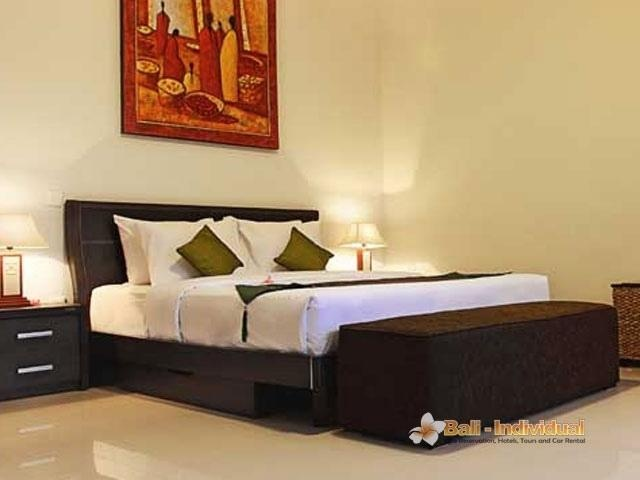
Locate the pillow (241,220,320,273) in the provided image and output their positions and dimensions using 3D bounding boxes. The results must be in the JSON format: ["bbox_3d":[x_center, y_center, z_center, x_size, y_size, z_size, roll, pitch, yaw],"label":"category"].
[{"bbox_3d":[-0.352,0.001,4.509,0.179,0.488,0.693,-22,-16,40],"label":"pillow"}]

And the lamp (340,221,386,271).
[{"bbox_3d":[0.518,0.093,5.730,0.558,0.545,0.525,-4,-8,26],"label":"lamp"}]

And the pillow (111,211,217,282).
[{"bbox_3d":[-1.521,0.069,4.131,0.163,0.551,0.551,-6,-1,42],"label":"pillow"}]

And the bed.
[{"bbox_3d":[-0.397,0.387,4.179,2.495,1.368,2.427,1,0,27],"label":"bed"}]

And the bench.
[{"bbox_3d":[0.977,0.714,2.809,1.791,0.605,0.487,1,-4,-32],"label":"bench"}]
